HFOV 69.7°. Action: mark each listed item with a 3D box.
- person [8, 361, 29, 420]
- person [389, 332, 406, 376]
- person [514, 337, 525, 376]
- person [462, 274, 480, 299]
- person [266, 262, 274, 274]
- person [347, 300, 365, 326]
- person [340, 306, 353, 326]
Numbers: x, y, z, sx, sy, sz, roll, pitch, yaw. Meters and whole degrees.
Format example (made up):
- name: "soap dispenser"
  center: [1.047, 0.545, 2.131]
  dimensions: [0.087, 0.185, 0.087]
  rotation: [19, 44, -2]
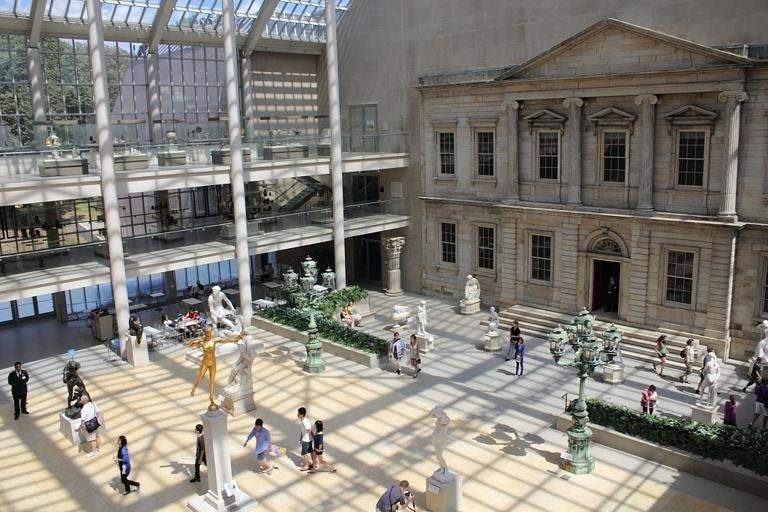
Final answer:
- name: "person"
  center: [-13.737, 4.998, 20.845]
  dimensions: [0.582, 2.162, 0.718]
  rotation: [-8, 14, -33]
- name: "person"
  center: [0.563, 4.098, 23.600]
  dimensions: [0.603, 1.673, 1.027]
  rotation: [-1, 11, 0]
- name: "person"
  center: [5.702, 4.229, 23.290]
  dimensions: [0.361, 1.366, 0.952]
  rotation: [2, 11, 13]
- name: "person"
  center: [4.814, 1.651, 29.908]
  dimensions: [0.818, 1.418, 1.430]
  rotation: [1, 11, 10]
- name: "person"
  center: [-7.545, 0.804, 36.333]
  dimensions: [0.357, 0.677, 1.033]
  rotation: [-3, 11, -13]
- name: "person"
  center: [-1.484, 3.013, 28.526]
  dimensions: [0.940, 1.436, 0.963]
  rotation: [6, 17, 25]
- name: "person"
  center: [-1.869, 3.082, 27.587]
  dimensions: [0.566, 0.953, 0.523]
  rotation: [7, 14, 34]
